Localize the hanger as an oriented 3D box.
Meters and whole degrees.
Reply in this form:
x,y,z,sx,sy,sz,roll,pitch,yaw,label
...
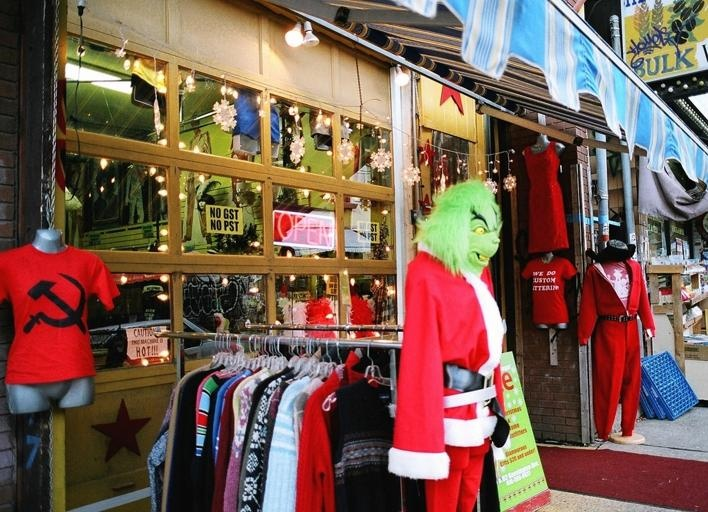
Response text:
x,y,z,sx,sy,sz,roll,pitch,yaw,label
-0.260,0.666,3.585,1.266,0.449,0.428,-5,-6,29,hanger

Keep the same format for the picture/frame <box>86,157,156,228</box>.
x,y,z,sx,sy,sz,roll,pitch,yaw,label
-1.721,-0.462,4.452,0.447,0.448,0.032,-6,2,-37,picture/frame

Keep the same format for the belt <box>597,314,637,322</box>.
x,y,z,sx,sy,sz,roll,pitch,yaw,label
2.530,0.584,5.768,0.395,0.074,0.157,-2,-5,-5,belt

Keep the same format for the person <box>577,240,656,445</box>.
x,y,z,sx,sy,sz,roll,pitch,yaw,label
2.529,0.812,5.878,0.862,1.915,0.449,0,-5,-27,person
